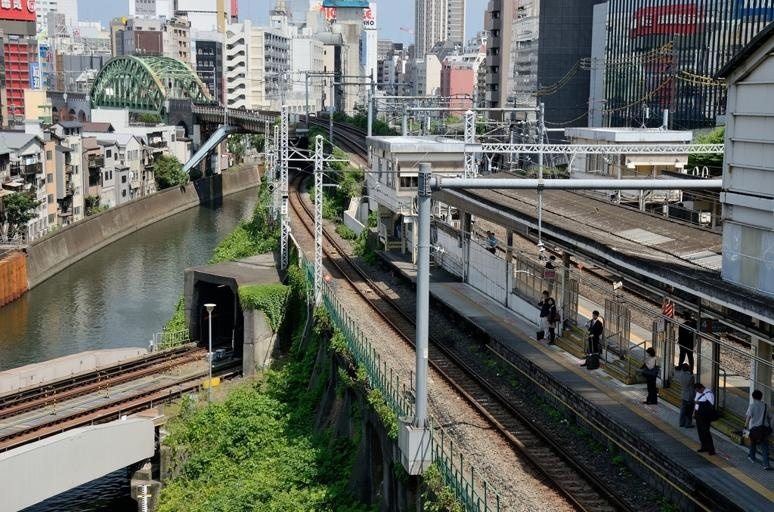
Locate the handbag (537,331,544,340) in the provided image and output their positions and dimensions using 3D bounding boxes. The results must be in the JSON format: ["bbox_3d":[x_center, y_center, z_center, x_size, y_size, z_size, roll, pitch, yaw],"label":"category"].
[{"bbox_3d":[5.331,2.802,33.334,0.180,0.315,0.312,4,18,8],"label":"handbag"}]

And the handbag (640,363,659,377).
[{"bbox_3d":[7.731,3.376,28.268,0.359,0.384,0.385,2,0,20],"label":"handbag"}]

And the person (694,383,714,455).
[{"bbox_3d":[8.518,4.422,25.799,0.584,1.780,0.574,2,13,7],"label":"person"}]

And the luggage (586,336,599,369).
[{"bbox_3d":[6.604,3.098,30.770,0.435,1.058,0.380,0,12,-4],"label":"luggage"}]

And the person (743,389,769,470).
[{"bbox_3d":[9.816,4.530,25.341,0.722,2.085,0.788,6,14,24],"label":"person"}]

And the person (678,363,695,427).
[{"bbox_3d":[8.346,3.906,26.803,0.428,1.952,0.623,4,13,17],"label":"person"}]

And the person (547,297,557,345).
[{"bbox_3d":[5.678,2.280,32.909,0.378,1.436,0.762,3,13,10],"label":"person"}]

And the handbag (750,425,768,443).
[{"bbox_3d":[9.679,4.681,25.095,0.455,0.455,0.330,3,2,35],"label":"handbag"}]
